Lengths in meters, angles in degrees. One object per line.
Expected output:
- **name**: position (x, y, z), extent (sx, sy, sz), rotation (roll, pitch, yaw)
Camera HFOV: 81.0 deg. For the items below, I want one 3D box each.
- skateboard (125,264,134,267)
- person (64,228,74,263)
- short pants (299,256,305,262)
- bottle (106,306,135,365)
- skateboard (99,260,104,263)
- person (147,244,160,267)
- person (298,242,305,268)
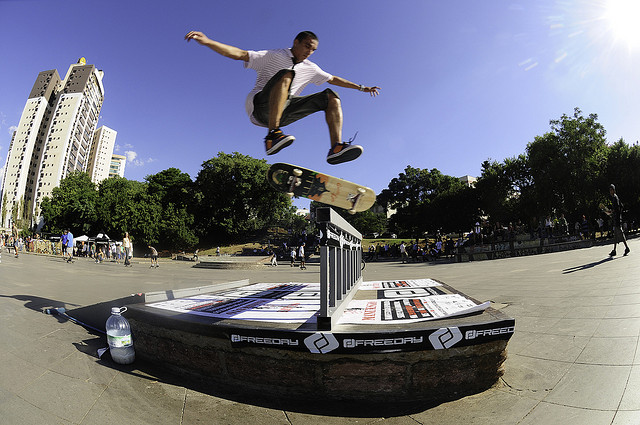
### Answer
- **skateboard**: position (-9.926, 2.786, 19.608), extent (0.252, 0.093, 0.204), rotation (7, -2, -4)
- **person**: position (-11.690, 1.589, 17.586), extent (0.351, 1.504, 1.657), rotation (0, -1, -35)
- **short pants**: position (-1.062, 2.885, 22.752), extent (0.155, 0.304, 0.710), rotation (0, -2, -9)
- **bottle**: position (-3.236, 1.989, 6.140), extent (0.360, 0.975, 0.371), rotation (0, 13, 0)
- **skateboard**: position (-11.685, 2.687, 20.234), extent (0.183, 0.076, 1.624), rotation (1, -3, -30)
- **person**: position (-12.620, 3.263, 28.440), extent (0.499, 0.483, 1.411), rotation (3, -35, -14)
- **person**: position (-1.045, 2.679, 22.496), extent (0.271, 1.304, 0.915), rotation (0, 0, -5)
